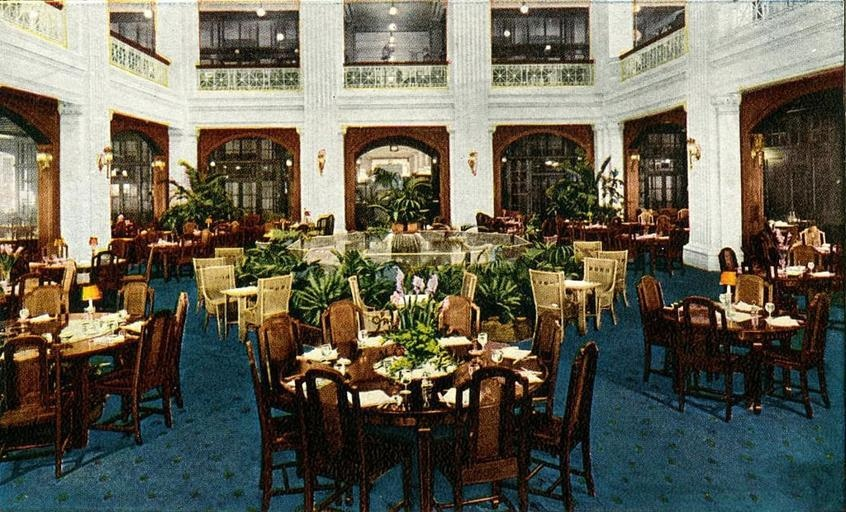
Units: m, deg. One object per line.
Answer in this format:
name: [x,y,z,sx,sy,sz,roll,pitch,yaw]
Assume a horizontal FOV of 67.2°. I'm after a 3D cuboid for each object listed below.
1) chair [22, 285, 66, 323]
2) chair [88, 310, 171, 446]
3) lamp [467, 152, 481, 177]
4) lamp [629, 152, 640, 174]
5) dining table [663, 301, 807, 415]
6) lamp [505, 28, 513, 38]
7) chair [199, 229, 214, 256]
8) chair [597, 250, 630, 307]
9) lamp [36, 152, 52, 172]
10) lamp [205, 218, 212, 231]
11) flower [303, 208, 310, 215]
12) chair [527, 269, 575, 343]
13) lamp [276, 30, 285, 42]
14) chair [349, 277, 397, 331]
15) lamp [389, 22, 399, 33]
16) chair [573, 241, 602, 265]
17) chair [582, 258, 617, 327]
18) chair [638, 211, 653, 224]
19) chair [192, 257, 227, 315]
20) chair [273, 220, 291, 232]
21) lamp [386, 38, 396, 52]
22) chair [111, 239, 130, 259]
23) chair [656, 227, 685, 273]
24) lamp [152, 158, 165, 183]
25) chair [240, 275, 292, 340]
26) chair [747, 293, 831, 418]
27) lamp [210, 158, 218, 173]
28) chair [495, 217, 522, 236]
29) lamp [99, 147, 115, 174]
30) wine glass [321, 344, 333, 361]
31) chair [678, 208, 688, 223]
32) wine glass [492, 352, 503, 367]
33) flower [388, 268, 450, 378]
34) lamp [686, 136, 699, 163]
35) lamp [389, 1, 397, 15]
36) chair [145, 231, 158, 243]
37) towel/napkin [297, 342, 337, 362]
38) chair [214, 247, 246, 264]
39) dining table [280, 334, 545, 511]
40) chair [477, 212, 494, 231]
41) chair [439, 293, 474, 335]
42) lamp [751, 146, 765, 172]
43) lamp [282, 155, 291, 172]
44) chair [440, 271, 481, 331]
chair: [-5.483,0.716,9.272,0.411,0.634,0.361,0,9,-17]
chair: [-3.864,1.539,8.410,1.041,1.601,1.035,1,3,-10]
lamp: [1.516,-2.801,19.280,0.332,0.713,0.186,-2,4,3]
lamp: [6.222,-2.772,18.981,0.403,0.740,0.165,-5,5,-31]
dining table: [4.004,1.377,8.874,1.244,1.609,1.469,0,-1,-20]
lamp: [2.840,-7.527,21.554,0.281,0.242,0.072,-4,5,-21]
chair: [-5.070,-0.306,15.118,0.195,0.631,0.427,0,5,23]
chair: [3.565,0.412,12.230,0.736,0.961,0.738,-2,-3,-29]
lamp: [-8.322,-2.085,14.122,0.330,0.412,0.346,0,-1,4]
lamp: [-5.732,-0.839,17.148,0.161,0.173,0.441,-16,19,-29]
flower: [-3.413,-1.292,18.862,0.146,0.214,0.200,-2,16,-5]
chair: [2.248,0.779,10.757,0.649,1.115,0.695,3,9,40]
lamp: [-4.774,-7.436,21.539,0.260,0.305,0.219,-4,4,-16]
chair: [-0.738,0.732,9.489,0.564,0.869,0.585,-5,-2,-7]
lamp: [-0.951,-7.534,20.927,0.233,0.223,0.345,12,-31,2]
chair: [3.314,-0.125,12.910,0.476,0.487,0.447,10,15,43]
chair: [2.994,0.657,11.239,0.714,1.109,0.705,-6,8,-43]
chair: [6.183,-1.064,17.816,0.361,0.556,0.390,3,19,18]
chair: [-3.994,0.572,12.034,0.681,0.966,0.744,0,-4,12]
chair: [-3.979,-0.843,18.115,0.595,0.238,0.508,-1,4,10]
lamp: [-1.009,-6.944,20.798,0.322,0.461,0.171,-1,1,-3]
chair: [-6.269,-0.139,13.252,0.416,0.589,0.403,0,3,-34]
chair: [5.469,-0.109,14.403,0.791,1.117,0.780,0,3,39]
lamp: [-7.797,-2.575,18.983,0.337,0.638,0.219,-4,5,-20]
chair: [-2.606,0.917,10.650,0.779,1.138,0.804,3,8,17]
chair: [5.076,1.265,8.712,0.773,1.609,1.151,1,5,33]
lamp: [-7.071,-3.065,21.554,0.216,0.444,0.833,-3,4,-13]
chair: [2.476,-0.876,18.316,0.676,0.751,0.795,2,-7,-22]
lamp: [-7.311,-2.236,14.837,0.229,0.655,0.374,-1,4,11]
wine glass: [-1.150,1.193,7.862,0.151,0.251,0.151,-1,2,7]
chair: [7.506,-1.184,18.546,0.274,0.332,1.885,-1,4,22]
wine glass: [0.889,1.220,7.562,0.134,0.159,0.137,-3,10,-18]
flower: [0.070,0.685,7.469,0.545,0.962,0.599,-12,12,-27]
lamp: [6.316,-2.473,14.994,0.171,0.669,0.418,-3,4,-12]
lamp: [-0.926,-7.725,19.791,0.282,0.396,0.540,5,12,-4]
chair: [-6.672,-0.469,15.738,0.306,0.416,0.293,0,-2,-39]
towel/napkin: [-1.190,1.208,7.845,0.287,0.104,0.297,6,8,41]
chair: [-3.837,-0.024,12.811,0.499,0.337,0.515,1,0,-16]
dining table: [-0.023,1.712,7.670,1.867,1.243,1.954,-1,-5,-3]
chair: [1.710,-1.001,18.532,0.632,0.680,0.512,-2,3,10]
chair: [0.449,0.900,8.901,0.428,0.518,0.439,-4,-10,16]
lamp: [7.455,-2.188,14.281,0.241,0.468,0.072,-3,4,-12]
lamp: [-4.578,-3.159,21.829,0.188,0.492,0.588,-4,4,-22]
chair: [0.532,0.698,9.124,0.718,1.176,0.652,1,-2,-4]
